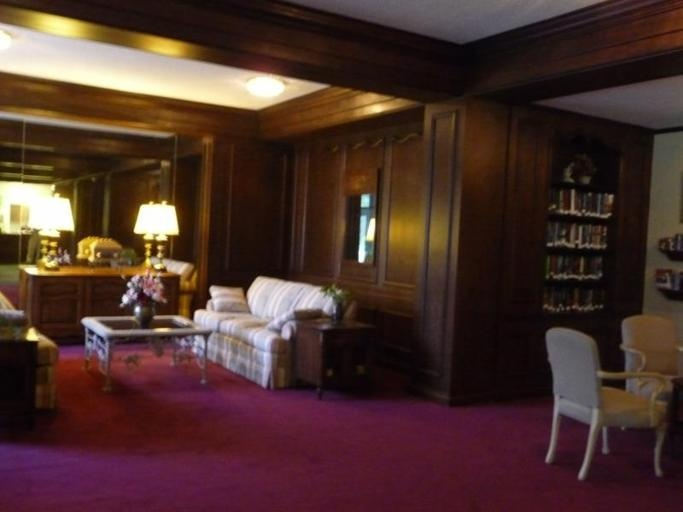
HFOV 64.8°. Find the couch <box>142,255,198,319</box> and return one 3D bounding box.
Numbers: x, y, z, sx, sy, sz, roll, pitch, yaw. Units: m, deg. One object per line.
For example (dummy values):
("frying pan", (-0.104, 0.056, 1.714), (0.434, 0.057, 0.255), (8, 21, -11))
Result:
("couch", (-2.603, 0.513, 8.202), (0.370, 0.738, 1.024), (3, 3, -32))

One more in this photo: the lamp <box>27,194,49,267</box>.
("lamp", (-4.608, -0.408, 8.222), (0.307, 1.076, 0.232), (5, 4, 31))

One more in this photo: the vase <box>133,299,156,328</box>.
("vase", (-2.349, 0.675, 6.442), (0.280, 0.333, 0.285), (-1, 5, -25))

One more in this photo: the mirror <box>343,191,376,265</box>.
("mirror", (0.265, -0.412, 8.086), (0.092, 1.023, 0.680), (1, 4, -34))

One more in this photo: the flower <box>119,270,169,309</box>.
("flower", (-2.642, 0.453, 7.151), (0.522, 0.528, 0.450), (0, -25, -7))

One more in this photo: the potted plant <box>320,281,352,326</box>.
("potted plant", (-0.026, 0.541, 6.329), (0.365, 0.483, 0.457), (-2, 4, -31))

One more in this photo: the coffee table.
("coffee table", (-2.278, 1.013, 6.323), (1.079, 0.568, 0.979), (6, -1, -31))
